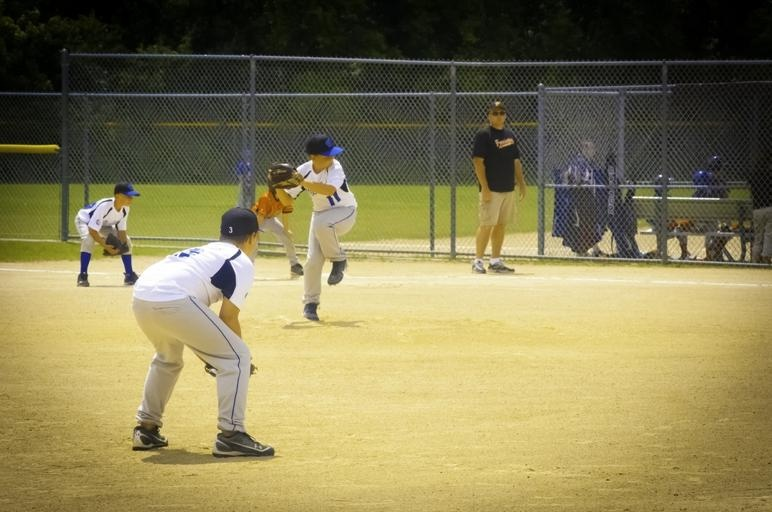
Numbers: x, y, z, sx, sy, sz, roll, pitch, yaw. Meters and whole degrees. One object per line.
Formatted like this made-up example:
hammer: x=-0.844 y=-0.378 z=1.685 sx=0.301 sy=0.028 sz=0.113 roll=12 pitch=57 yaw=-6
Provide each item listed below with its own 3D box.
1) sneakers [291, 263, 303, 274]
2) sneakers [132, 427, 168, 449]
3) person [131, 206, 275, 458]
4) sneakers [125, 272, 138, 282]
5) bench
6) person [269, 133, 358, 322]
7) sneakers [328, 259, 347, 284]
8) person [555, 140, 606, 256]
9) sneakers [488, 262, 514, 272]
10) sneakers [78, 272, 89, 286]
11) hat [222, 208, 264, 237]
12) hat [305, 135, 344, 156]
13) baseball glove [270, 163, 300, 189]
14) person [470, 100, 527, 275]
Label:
sneakers: x=-1.282 y=0.191 z=16.116 sx=0.148 sy=0.120 sz=0.295 roll=-7 pitch=5 yaw=-37
sneakers: x=-2.073 y=1.611 z=9.747 sx=0.143 sy=0.158 sz=0.368 roll=1 pitch=0 yaw=34
person: x=-1.653 y=0.681 z=9.638 sx=1.162 sy=2.081 sz=0.795 roll=-2 pitch=15 yaw=-7
sneakers: x=-3.485 y=0.290 z=15.060 sx=0.131 sy=0.137 sz=0.212 roll=7 pitch=19 yaw=14
bench: x=4.782 y=-0.348 z=17.064 sx=1.415 sy=0.795 sz=0.492 roll=7 pitch=-1 yaw=-25
person: x=-0.794 y=-0.343 z=13.263 sx=0.864 sy=2.242 sz=0.913 roll=-1 pitch=15 yaw=-5
sneakers: x=-0.599 y=0.203 z=13.445 sx=0.142 sy=0.374 sz=0.169 roll=10 pitch=-4 yaw=38
person: x=3.085 y=-0.904 z=17.644 sx=1.027 sy=1.886 sz=0.698 roll=9 pitch=18 yaw=31
sneakers: x=1.688 y=0.179 z=16.363 sx=0.401 sy=0.146 sz=0.143 roll=0 pitch=-1 yaw=10
sneakers: x=-4.153 y=0.324 z=15.115 sx=0.149 sy=0.198 sz=0.240 roll=-4 pitch=15 yaw=-13
hat: x=-1.269 y=-0.295 z=9.698 sx=0.229 sy=0.168 sz=0.304 roll=15 pitch=23 yaw=33
hat: x=-0.741 y=-1.288 z=12.934 sx=0.372 sy=0.134 sz=0.243 roll=-1 pitch=22 yaw=1
baseball glove: x=-1.239 y=-0.959 z=13.008 sx=0.349 sy=0.309 sz=0.250 roll=-17 pitch=23 yaw=-3
person: x=1.646 y=-0.972 z=16.384 sx=0.759 sy=2.578 sz=0.985 roll=1 pitch=15 yaw=5
